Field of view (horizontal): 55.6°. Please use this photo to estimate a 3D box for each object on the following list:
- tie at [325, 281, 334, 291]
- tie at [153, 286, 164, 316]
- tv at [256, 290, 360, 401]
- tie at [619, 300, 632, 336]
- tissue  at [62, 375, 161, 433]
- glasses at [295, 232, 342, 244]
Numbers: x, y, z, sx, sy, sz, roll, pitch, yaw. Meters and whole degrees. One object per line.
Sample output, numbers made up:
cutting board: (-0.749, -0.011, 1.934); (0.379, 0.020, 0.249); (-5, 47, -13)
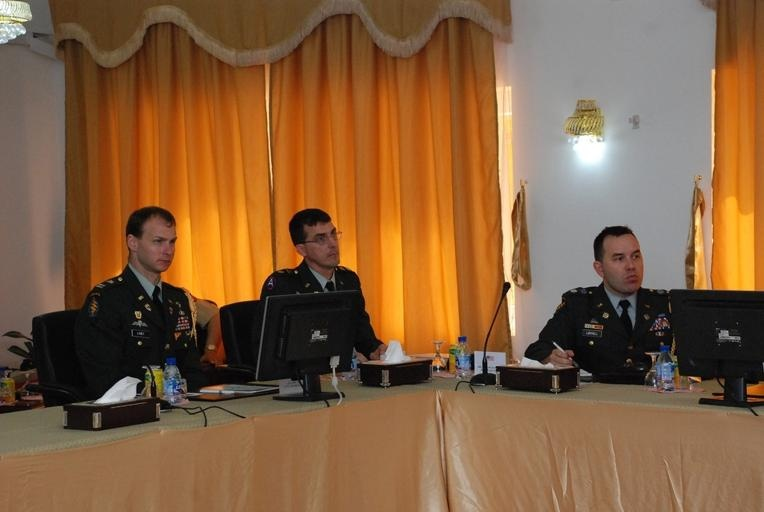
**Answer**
tie: (-0.305, 0.177, 4.204); (0.059, 0.086, 0.046); (2, -9, -15)
tie: (-1.189, 0.239, 3.847); (0.077, 0.139, 0.031); (-5, -4, -43)
tv: (-0.359, 0.440, 3.485); (0.463, 0.452, 0.193); (-1, 2, -36)
tie: (1.342, 0.337, 4.015); (0.048, 0.201, 0.028); (-4, -23, 6)
tissue : (-1.118, 0.610, 2.998); (0.382, 0.189, 0.217); (0, -5, -21)
glasses: (-0.383, -0.096, 4.104); (0.118, 0.037, 0.117); (-13, -6, 43)
